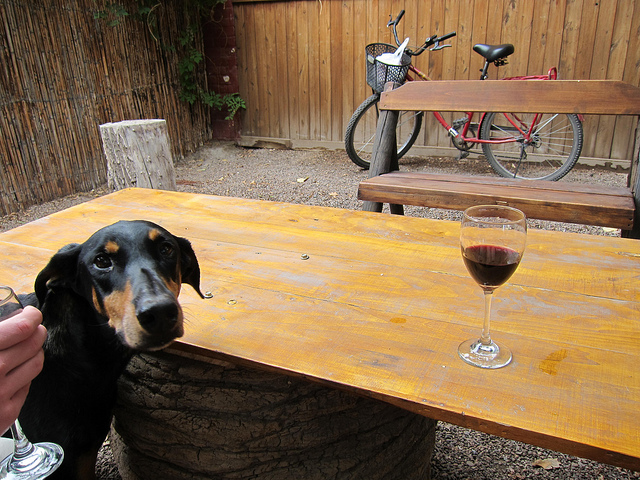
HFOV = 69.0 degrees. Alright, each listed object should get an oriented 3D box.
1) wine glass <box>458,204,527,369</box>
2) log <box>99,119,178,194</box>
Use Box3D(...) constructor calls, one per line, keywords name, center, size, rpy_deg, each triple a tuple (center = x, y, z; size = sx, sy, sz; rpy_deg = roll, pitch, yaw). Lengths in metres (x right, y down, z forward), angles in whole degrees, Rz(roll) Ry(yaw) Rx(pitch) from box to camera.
Box3D(name="wine glass", center=(0.498, 0.136, 1.361), size=(0.170, 0.415, 0.173), rpy_deg=(1, 11, 16))
Box3D(name="log", center=(-1.648, -0.746, 4.326), size=(0.592, 0.675, 0.331), rpy_deg=(-14, 23, -31))
